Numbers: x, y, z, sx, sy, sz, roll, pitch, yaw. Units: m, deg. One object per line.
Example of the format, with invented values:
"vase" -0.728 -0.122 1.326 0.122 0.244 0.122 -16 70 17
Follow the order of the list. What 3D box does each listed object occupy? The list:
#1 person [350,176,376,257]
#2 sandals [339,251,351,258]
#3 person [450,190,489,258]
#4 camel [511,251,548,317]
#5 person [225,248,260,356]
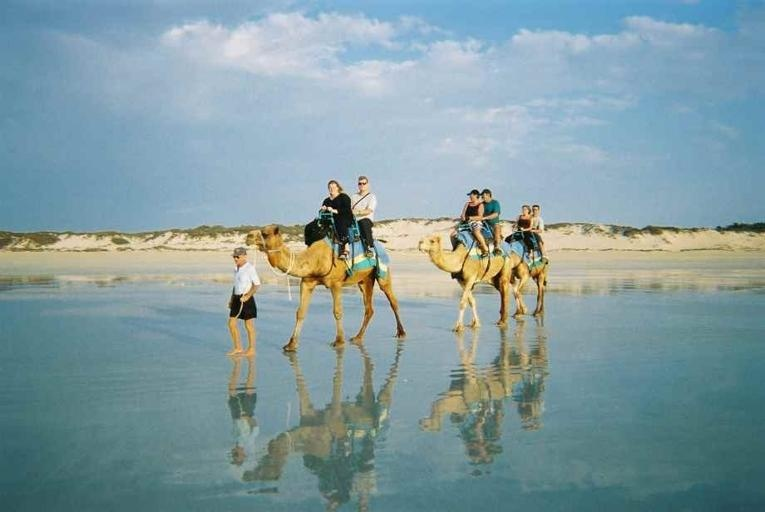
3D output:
"person" -0.549 -0.922 15.077 0.720 1.594 0.753 -4 21 -17
"sandals" -0.801 -0.027 14.176 0.093 0.177 0.319 6 12 37
"person" 2.395 -0.869 17.433 0.594 1.656 0.902 -9 8 -12
"camel" 4.101 0.671 18.914 0.529 2.025 0.892 0 0 42
"person" -2.767 0.909 13.091 0.724 2.068 0.583 1 0 39
